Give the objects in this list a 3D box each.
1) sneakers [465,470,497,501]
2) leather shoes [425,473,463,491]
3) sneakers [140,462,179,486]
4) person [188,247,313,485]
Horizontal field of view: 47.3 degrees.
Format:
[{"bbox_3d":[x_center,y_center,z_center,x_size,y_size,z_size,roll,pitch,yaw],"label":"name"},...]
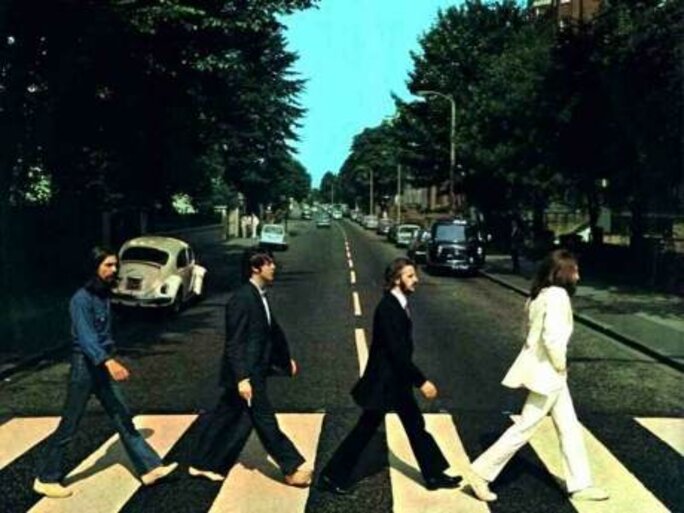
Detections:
[{"bbox_3d":[1.714,2.840,9.746,0.448,0.223,0.206,38,3,5],"label":"sneakers"},{"bbox_3d":[1.255,2.786,9.837,0.511,0.246,0.196,-3,9,-9],"label":"leather shoes"},{"bbox_3d":[-2.342,2.748,9.947,0.357,0.167,0.109,-28,24,-17],"label":"sneakers"},{"bbox_3d":[-1.162,1.380,9.878,1.431,2.977,0.545,1,5,-12],"label":"person"}]
